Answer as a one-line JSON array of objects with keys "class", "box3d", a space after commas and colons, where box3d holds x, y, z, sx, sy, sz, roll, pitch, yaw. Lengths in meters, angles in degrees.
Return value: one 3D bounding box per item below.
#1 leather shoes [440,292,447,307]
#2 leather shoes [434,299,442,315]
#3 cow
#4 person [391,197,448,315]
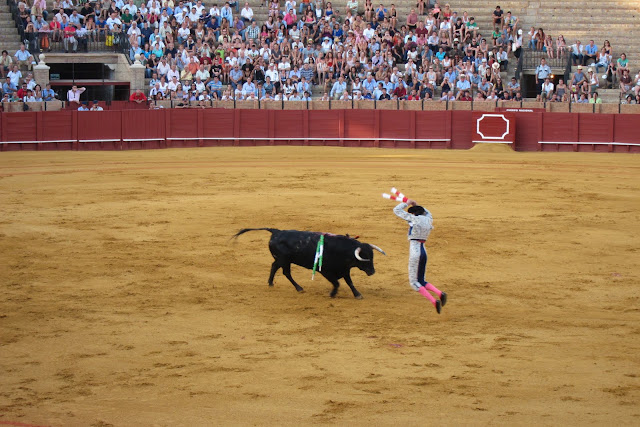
[{"class": "leather shoes", "box3d": [2.078, 1.462, 15.369, 0.136, 0.278, 0.128, 1, 6, -11]}, {"class": "leather shoes", "box3d": [1.959, 1.580, 15.364, 0.113, 0.240, 0.114, -7, 13, -28]}, {"class": "cow", "box3d": [0.014, 0.902, 16.198, 1.985, 1.172, 0.591, 7, 13, 30]}, {"class": "person", "box3d": [1.667, 0.694, 15.422, 0.910, 1.976, 0.636, 2, 12, 4]}]
